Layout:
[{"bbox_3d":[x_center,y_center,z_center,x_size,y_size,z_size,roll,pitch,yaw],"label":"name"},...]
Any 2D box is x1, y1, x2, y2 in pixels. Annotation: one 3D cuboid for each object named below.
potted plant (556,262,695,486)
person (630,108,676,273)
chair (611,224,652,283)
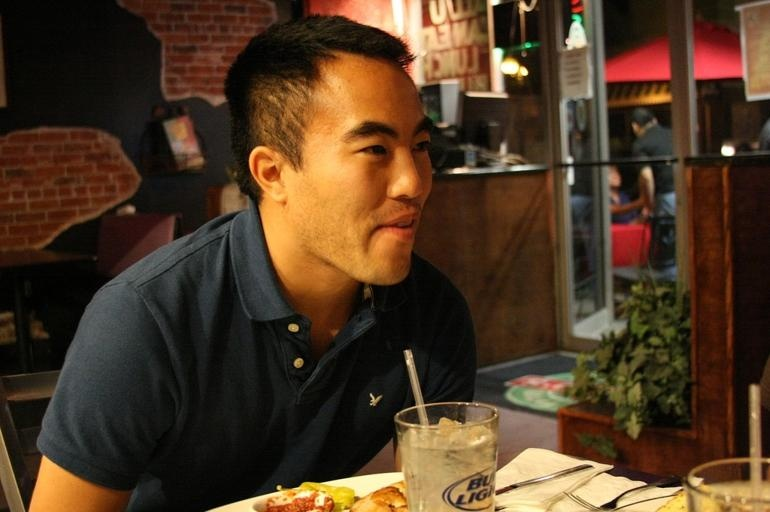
[{"bbox_3d":[1.125,0.575,3.217,0.616,0.834,0.511,-2,6,18],"label":"potted plant"},{"bbox_3d":[1.711,-0.432,4.250,0.179,1.003,0.369,-4,6,0],"label":"person"},{"bbox_3d":[1.628,-0.068,4.588,0.223,0.230,0.220,-2,8,-20],"label":"chair"}]
